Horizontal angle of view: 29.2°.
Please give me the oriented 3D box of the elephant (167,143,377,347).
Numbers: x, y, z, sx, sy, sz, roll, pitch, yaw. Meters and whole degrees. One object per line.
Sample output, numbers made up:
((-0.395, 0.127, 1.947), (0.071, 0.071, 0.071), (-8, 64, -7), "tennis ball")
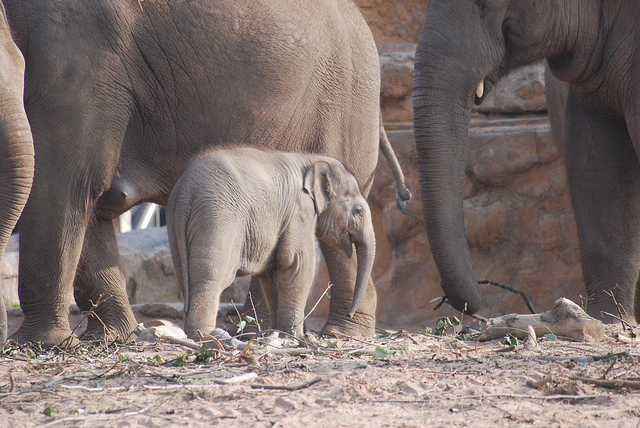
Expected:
((-0.271, 0.211, 7.681), (1.376, 1.146, 0.607), (1, -3, -34), "elephant")
